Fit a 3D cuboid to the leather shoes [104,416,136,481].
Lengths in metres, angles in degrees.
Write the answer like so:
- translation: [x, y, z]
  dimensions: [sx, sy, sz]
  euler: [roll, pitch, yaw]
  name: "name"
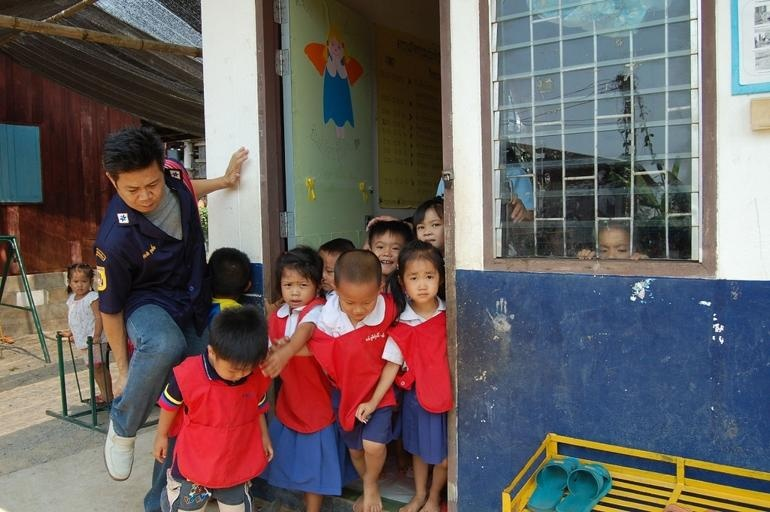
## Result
- translation: [-1.524, 1.126, 3.580]
  dimensions: [0.168, 0.416, 0.136]
  euler: [-7, -6, 35]
  name: "leather shoes"
